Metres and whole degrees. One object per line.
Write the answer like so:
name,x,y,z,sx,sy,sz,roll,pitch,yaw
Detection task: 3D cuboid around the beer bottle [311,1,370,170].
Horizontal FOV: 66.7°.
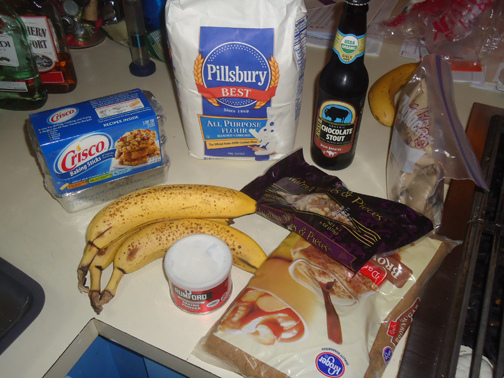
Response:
beer bottle,0.196,-0.204,0.815,0.113,0.381,0.090,4,39,4
